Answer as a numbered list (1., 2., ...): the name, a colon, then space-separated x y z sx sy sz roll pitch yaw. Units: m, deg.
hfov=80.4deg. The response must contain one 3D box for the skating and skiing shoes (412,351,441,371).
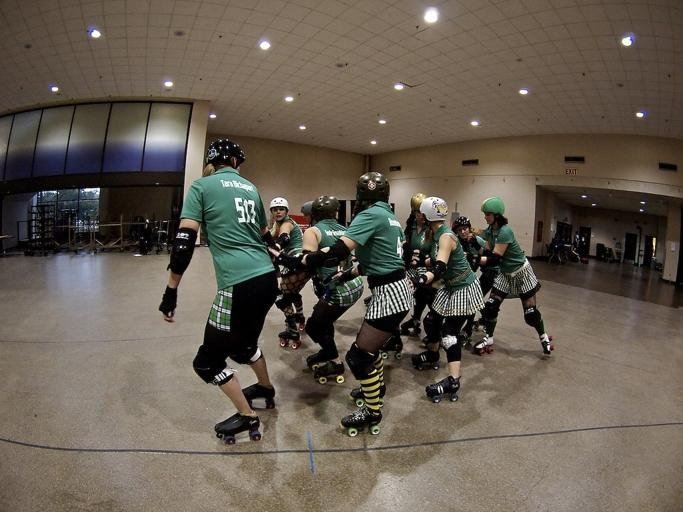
1. skating and skiing shoes: 0.950 1.165 4.542 0.326 0.252 0.181 3 -6 5

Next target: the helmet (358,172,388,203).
1. helmet: 0.269 -0.642 3.688 0.218 0.284 0.293 3 19 -1

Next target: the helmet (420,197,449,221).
1. helmet: 0.950 -0.498 4.158 0.264 0.222 0.214 -1 10 23

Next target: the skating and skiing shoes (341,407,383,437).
1. skating and skiing shoes: 0.157 1.437 3.531 0.356 0.229 0.184 6 -2 -7

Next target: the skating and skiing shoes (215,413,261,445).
1. skating and skiing shoes: -0.852 1.428 3.333 0.321 0.182 0.216 8 -1 -18

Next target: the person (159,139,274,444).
1. person: -0.977 0.256 3.390 0.873 2.508 0.492 2 5 -8

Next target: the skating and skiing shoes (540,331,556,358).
1. skating and skiing shoes: 2.605 1.081 5.108 0.137 0.197 0.404 6 26 13

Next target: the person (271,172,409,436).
1. person: 0.184 0.382 3.600 0.954 2.269 0.570 1 5 -21

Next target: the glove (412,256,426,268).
1. glove: 0.879 0.062 4.636 0.109 0.061 0.151 5 8 22

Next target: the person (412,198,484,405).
1. person: 1.091 0.396 4.155 0.679 2.007 0.873 4 5 20

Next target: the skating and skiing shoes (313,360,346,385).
1. skating and skiing shoes: -0.134 1.214 4.283 0.296 0.188 0.204 12 -1 -12

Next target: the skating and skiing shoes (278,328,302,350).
1. skating and skiing shoes: -0.660 1.050 5.080 0.267 0.265 0.171 8 -2 2

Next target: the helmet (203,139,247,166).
1. helmet: -1.032 -0.905 3.581 0.315 0.302 0.244 -20 31 -27

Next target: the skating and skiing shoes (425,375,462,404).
1. skating and skiing shoes: 0.991 1.292 3.904 0.341 0.243 0.201 3 -5 4

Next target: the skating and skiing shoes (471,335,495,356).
1. skating and skiing shoes: 1.769 1.121 5.017 0.131 0.195 0.377 -2 -17 39
